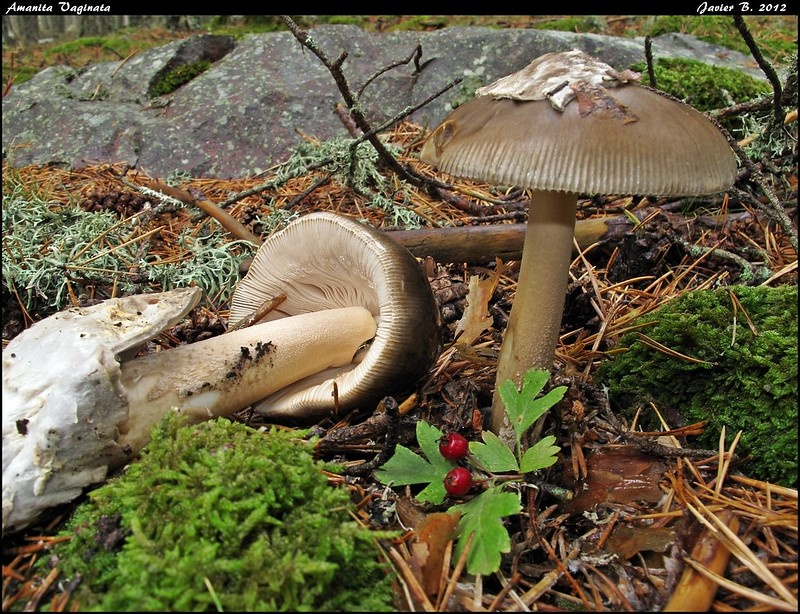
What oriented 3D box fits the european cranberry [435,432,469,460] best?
[{"bbox_3d":[0.261,0.687,3.028,0.168,0.148,0.134,2,16,6],"label":"european cranberry"}]
